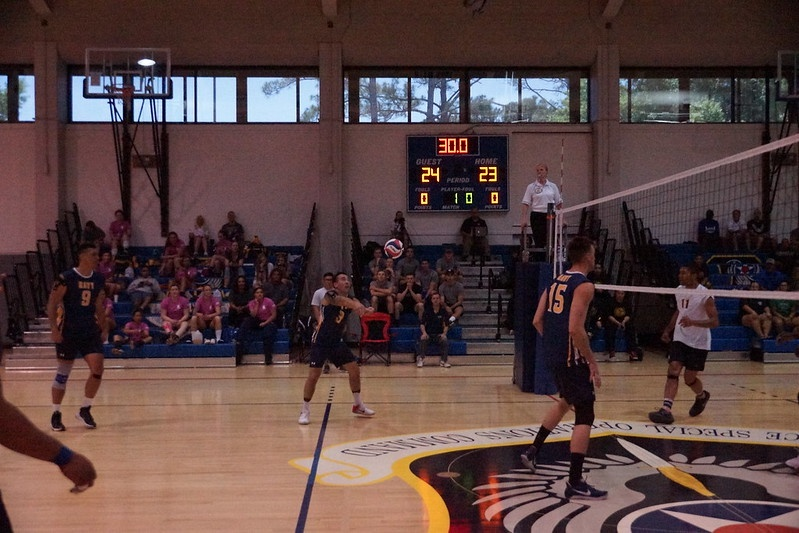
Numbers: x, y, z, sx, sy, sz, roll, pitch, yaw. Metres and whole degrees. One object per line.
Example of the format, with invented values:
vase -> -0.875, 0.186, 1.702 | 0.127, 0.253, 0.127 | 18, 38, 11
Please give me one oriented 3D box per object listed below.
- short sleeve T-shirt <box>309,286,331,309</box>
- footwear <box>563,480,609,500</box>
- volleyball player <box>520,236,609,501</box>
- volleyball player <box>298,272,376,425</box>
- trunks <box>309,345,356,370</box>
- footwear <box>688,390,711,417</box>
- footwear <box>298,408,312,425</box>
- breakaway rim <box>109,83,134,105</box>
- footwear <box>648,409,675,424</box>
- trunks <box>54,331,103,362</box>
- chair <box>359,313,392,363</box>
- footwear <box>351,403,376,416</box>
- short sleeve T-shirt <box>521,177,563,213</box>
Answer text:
short sleeve T-shirt -> -1.656, 0.640, 18.587 | 0.566, 0.515, 0.202 | -2, -2, -29
footwear -> 2.885, 3.505, 14.140 | 0.700, 0.328, 0.262 | 1, -6, -1
volleyball player -> 2.663, 1.528, 14.489 | 1.077, 4.178, 1.316 | 2, -1, -22
volleyball player -> -1.000, 1.477, 16.491 | 1.013, 2.713, 1.390 | 0, 0, -40
trunks -> -1.277, 1.689, 16.810 | 0.777, 0.489, 0.300 | 1, -5, -11
footwear -> 5.501, 2.540, 16.659 | 0.251, 0.644, 0.229 | 7, 22, -19
footwear -> -1.747, 2.755, 16.537 | 0.234, 0.240, 0.640 | 1, -5, -5
breakaway rim -> -7.167, -4.538, 23.203 | 0.602, 0.381, 0.338 | -1, 3, -16
footwear -> 4.658, 2.683, 16.153 | 0.437, 0.230, 0.199 | 12, 25, -2
trunks -> -5.782, 1.432, 16.220 | 0.812, 0.731, 0.497 | 2, -9, -24
chair -> -0.583, 1.659, 21.048 | 0.782, 1.252, 0.908 | 3, 0, 7
footwear -> -0.660, 2.652, 16.722 | 0.485, 0.233, 0.179 | 3, 3, -2
short sleeve T-shirt -> 3.021, -1.508, 19.341 | 1.115, 0.926, 0.617 | 0, -2, 2
